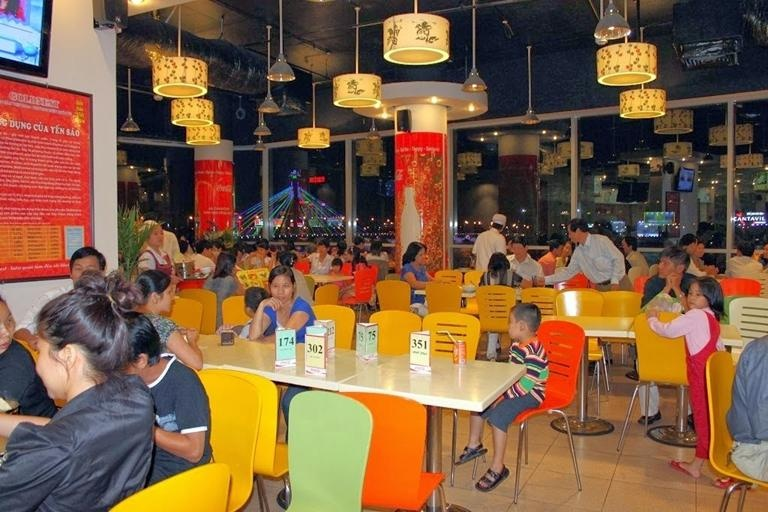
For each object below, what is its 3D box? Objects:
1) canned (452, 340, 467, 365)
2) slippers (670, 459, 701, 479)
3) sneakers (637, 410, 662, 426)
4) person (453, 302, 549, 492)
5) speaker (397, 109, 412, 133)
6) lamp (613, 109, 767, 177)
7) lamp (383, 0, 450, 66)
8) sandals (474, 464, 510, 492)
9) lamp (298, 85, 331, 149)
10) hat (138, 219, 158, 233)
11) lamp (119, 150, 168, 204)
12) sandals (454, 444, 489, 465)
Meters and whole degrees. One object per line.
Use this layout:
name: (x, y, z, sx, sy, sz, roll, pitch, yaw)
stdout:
canned: (0.560, 0.710, 4.670, 0.084, 0.185, 0.068, -1, 10, 0)
slippers: (2.490, 1.742, 5.192, 0.111, 0.070, 0.184, 13, 5, -39)
sneakers: (2.604, 1.585, 6.145, 0.319, 0.127, 0.115, 1, -5, -40)
person: (0.970, 1.114, 5.055, 0.743, 1.428, 0.668, 0, 10, 5)
speaker: (0.326, -2.239, 10.437, 0.254, 0.377, 0.161, 0, 10, 6)
lamp: (5.154, -1.935, 10.432, 2.065, 1.073, 0.961, 6, 11, 35)
lamp: (0.324, -2.223, 6.454, 0.638, 0.406, 0.495, -1, 9, -1)
sandals: (0.869, 1.775, 5.048, 0.321, 0.107, 0.125, -15, 9, -41)
lamp: (-1.257, -2.586, 11.216, 0.580, 1.353, 0.574, 1, -5, -16)
hat: (-2.709, -0.351, 7.144, 0.200, 0.194, 0.205, 2, -3, 11)
lamp: (-5.564, -1.808, 14.469, 0.385, 1.391, 1.260, 8, 13, 42)
sandals: (0.786, 1.645, 5.306, 0.368, 0.123, 0.134, -12, -7, -28)
